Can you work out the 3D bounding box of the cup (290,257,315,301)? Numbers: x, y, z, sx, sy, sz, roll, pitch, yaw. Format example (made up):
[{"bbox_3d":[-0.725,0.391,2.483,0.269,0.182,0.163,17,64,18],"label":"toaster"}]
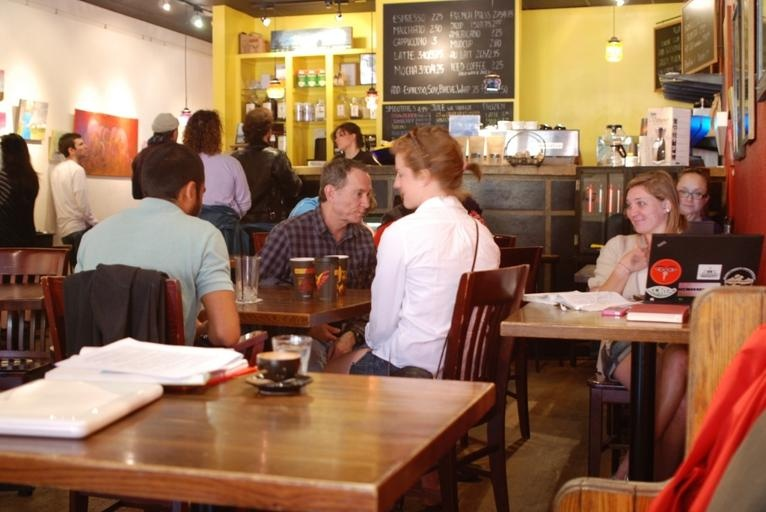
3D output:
[{"bbox_3d":[-0.336,0.107,2.817,0.161,0.159,0.154,1,2,0],"label":"cup"}]

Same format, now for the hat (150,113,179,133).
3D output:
[{"bbox_3d":[-1.904,-1.170,5.564,0.165,0.119,0.223,0,19,-1],"label":"hat"}]

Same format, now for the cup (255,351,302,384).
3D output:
[{"bbox_3d":[-0.254,0.258,1.518,0.081,0.048,0.078,0,-1,0],"label":"cup"}]

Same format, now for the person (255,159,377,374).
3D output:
[{"bbox_3d":[-0.277,0.058,3.325,0.777,1.051,0.663,0,4,-27],"label":"person"}]

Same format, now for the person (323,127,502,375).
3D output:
[{"bbox_3d":[0.133,-0.019,2.748,0.755,0.991,0.757,2,6,-10],"label":"person"}]

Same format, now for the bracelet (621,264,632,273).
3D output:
[{"bbox_3d":[1.153,0.058,2.999,0.035,0.034,0.032,-1,6,14],"label":"bracelet"}]

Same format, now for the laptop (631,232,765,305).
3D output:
[{"bbox_3d":[1.142,0.013,2.280,0.429,0.265,0.305,2,8,9],"label":"laptop"}]

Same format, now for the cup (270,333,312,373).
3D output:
[{"bbox_3d":[-0.228,0.246,1.620,0.093,0.097,0.099,0,-3,0],"label":"cup"}]

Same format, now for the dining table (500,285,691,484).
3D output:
[{"bbox_3d":[0.727,0.435,2.394,0.680,0.607,0.657,0,-1,5],"label":"dining table"}]

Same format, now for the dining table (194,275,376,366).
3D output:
[{"bbox_3d":[-0.314,0.253,2.711,0.501,0.347,0.470,1,-2,21],"label":"dining table"}]
